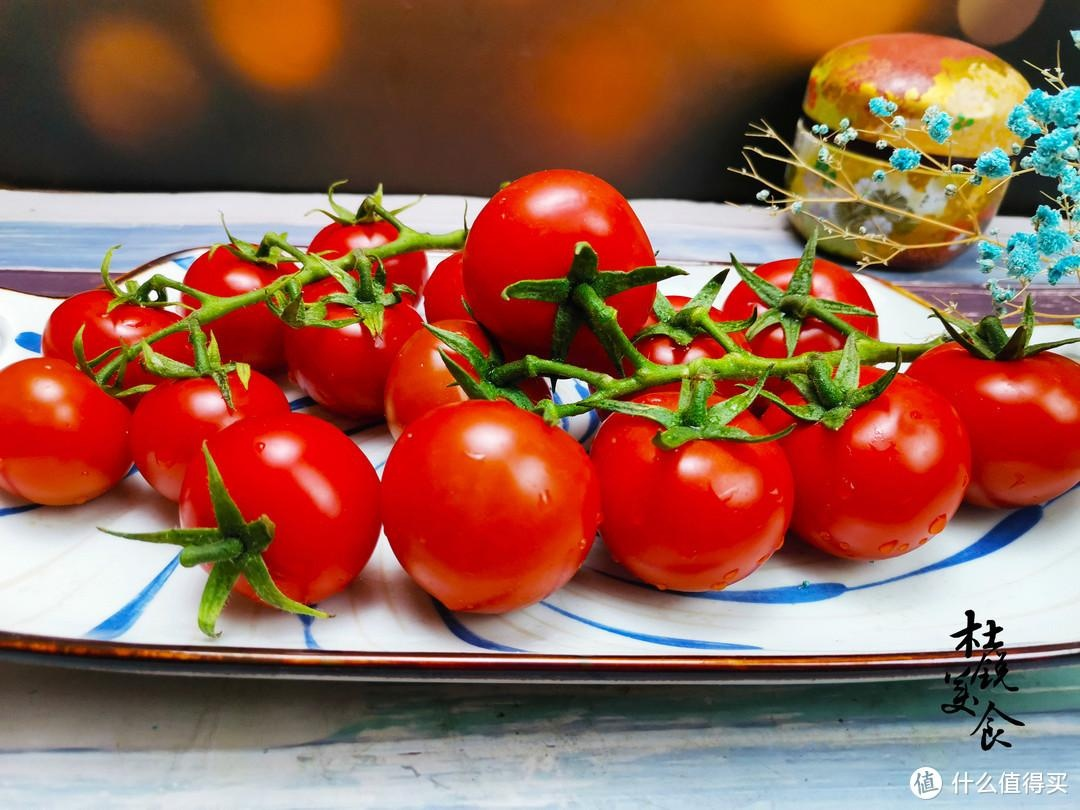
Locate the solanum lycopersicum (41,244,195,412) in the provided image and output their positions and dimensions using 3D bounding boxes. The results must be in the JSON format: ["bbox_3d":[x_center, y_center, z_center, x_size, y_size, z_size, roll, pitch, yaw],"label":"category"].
[{"bbox_3d":[-0.392,-0.087,0.978,0.149,0.110,0.141,9,3,-32],"label":"solanum lycopersicum"}]

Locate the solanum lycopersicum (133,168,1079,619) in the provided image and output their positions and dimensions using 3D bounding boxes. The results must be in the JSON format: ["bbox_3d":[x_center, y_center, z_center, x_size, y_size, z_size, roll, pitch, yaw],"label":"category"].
[{"bbox_3d":[0.084,0.000,0.815,0.663,0.180,0.334,0,35,0],"label":"solanum lycopersicum"}]
